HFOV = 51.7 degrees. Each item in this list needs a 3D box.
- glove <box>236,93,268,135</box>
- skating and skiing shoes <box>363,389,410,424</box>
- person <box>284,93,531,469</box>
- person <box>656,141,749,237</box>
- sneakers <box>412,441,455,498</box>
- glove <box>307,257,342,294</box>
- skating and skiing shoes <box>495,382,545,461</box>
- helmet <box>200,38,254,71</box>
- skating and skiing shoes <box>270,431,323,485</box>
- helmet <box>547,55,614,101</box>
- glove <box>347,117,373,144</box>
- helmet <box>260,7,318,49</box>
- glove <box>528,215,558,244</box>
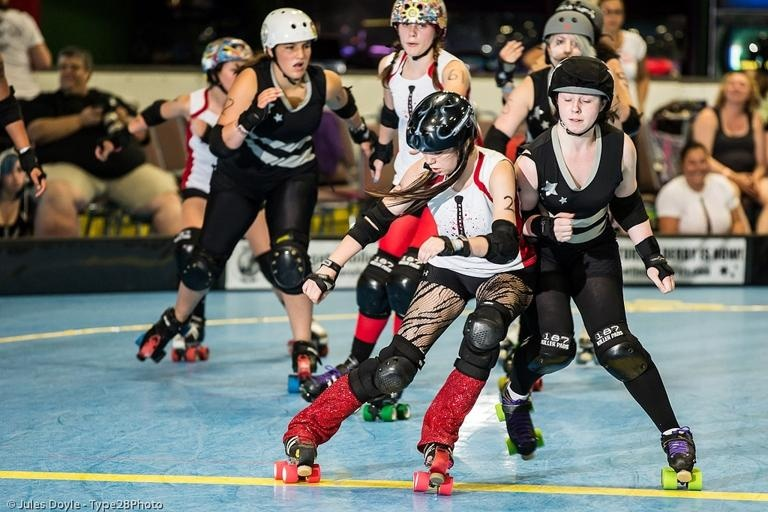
[{"bbox_3d":[-0.786,-0.861,4.855,0.065,0.252,0.147,3,40,-49],"label":"glove"},{"bbox_3d":[0.010,0.959,5.041,0.171,0.163,0.305,-4,-9,20],"label":"skating and skiing shoes"},{"bbox_3d":[0.210,0.163,4.244,1.237,2.042,0.708,1,11,2],"label":"person"},{"bbox_3d":[3.537,-0.707,8.723,0.915,1.063,0.586,-5,12,1],"label":"person"},{"bbox_3d":[0.257,1.098,4.129,0.213,0.276,0.163,2,11,5],"label":"sneakers"},{"bbox_3d":[-0.319,0.122,4.274,0.140,0.202,0.093,39,-17,9],"label":"glove"},{"bbox_3d":[0.776,0.984,4.637,0.182,0.529,0.212,-8,-9,-4],"label":"skating and skiing shoes"},{"bbox_3d":[-1.163,-1.458,5.871,0.329,0.305,0.261,1,11,11],"label":"helmet"},{"bbox_3d":[-0.455,1.084,4.184,0.154,0.200,0.301,3,-3,-9],"label":"skating and skiing shoes"},{"bbox_3d":[1.035,-0.937,4.169,0.198,0.227,0.287,7,10,14],"label":"helmet"},{"bbox_3d":[-0.181,-0.921,5.854,0.138,0.155,0.199,-32,11,6],"label":"glove"},{"bbox_3d":[-0.638,-1.438,5.090,0.245,0.305,0.302,-13,1,-41],"label":"helmet"},{"bbox_3d":[0.866,-0.156,4.338,0.140,0.063,0.111,2,-6,-6],"label":"glove"}]
